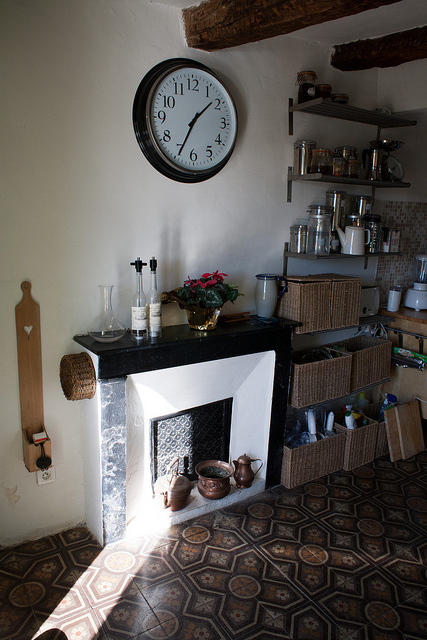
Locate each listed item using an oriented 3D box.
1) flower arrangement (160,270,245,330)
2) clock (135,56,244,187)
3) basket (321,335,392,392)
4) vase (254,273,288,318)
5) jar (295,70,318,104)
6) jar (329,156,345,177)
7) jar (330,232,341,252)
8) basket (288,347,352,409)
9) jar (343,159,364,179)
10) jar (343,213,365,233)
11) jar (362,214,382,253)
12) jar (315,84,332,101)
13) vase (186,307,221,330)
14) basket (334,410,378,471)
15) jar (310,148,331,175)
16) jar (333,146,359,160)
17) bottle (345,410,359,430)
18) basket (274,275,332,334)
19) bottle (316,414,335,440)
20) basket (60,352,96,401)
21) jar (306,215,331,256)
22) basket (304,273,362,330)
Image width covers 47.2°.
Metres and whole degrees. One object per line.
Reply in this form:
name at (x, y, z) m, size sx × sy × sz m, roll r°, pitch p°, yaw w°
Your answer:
flower arrangement at (-0.045, -0.068, 1.986) m, size 0.322 × 0.231 × 0.170 m, roll -4°, pitch 12°, yaw -29°
clock at (-0.073, -0.797, 1.975) m, size 0.489 × 0.465 × 0.049 m, roll -19°, pitch 17°, yaw -35°
basket at (0.813, 0.245, 2.763) m, size 0.352 × 0.214 × 0.206 m, roll -12°, pitch 15°, yaw -36°
vase at (0.271, -0.113, 2.302) m, size 0.147 × 0.203 × 0.170 m, roll 3°, pitch 11°, yaw 8°
jar at (0.426, -1.082, 2.287) m, size 0.104 × 0.142 × 0.113 m, roll 2°, pitch 11°, yaw 0°
jar at (0.612, -0.763, 2.431) m, size 0.049 × 0.103 × 0.256 m, roll 6°, pitch 12°, yaw 22°
jar at (0.637, -0.404, 2.563) m, size 0.069 × 0.095 × 0.090 m, roll 3°, pitch -2°, yaw -2°
basket at (0.530, 0.297, 2.432) m, size 0.397 × 0.219 × 0.089 m, roll -6°, pitch 13°, yaw -35°
jar at (0.732, -0.778, 2.525) m, size 0.105 × 0.093 × 0.063 m, roll -2°, pitch 12°, yaw -21°
jar at (0.740, -0.524, 2.665) m, size 0.116 × 0.123 × 0.123 m, roll 0°, pitch 17°, yaw 0°
jar at (0.868, -0.477, 2.712) m, size 0.211 × 0.204 × 0.081 m, roll -7°, pitch 14°, yaw -38°
jar at (0.524, -1.080, 2.320) m, size 0.081 × 0.092 × 0.096 m, roll 4°, pitch 11°, yaw 10°
vase at (-0.045, -0.010, 1.989) m, size 0.099 × 0.069 × 0.101 m, roll 6°, pitch 17°, yaw 16°
basket at (0.746, 0.640, 2.693) m, size 0.174 × 0.245 × 0.238 m, roll -11°, pitch 22°, yaw -21°
jar at (0.510, -0.747, 2.317) m, size 0.098 × 0.118 × 0.071 m, roll 3°, pitch 11°, yaw 8°
jar at (0.679, -0.858, 2.509) m, size 0.123 × 0.076 × 0.106 m, roll 3°, pitch 11°, yaw 8°
bottle at (0.735, 0.541, 2.617) m, size 0.058 × 0.083 × 0.107 m, roll 4°, pitch 11°, yaw 11°
basket at (0.453, -0.065, 2.376) m, size 0.273 × 0.206 × 0.159 m, roll 4°, pitch -4°, yaw -41°
bottle at (0.590, 0.590, 2.591) m, size 0.050 × 0.190 × 0.052 m, roll 14°, pitch -26°, yaw 7°
basket at (-0.500, 0.199, 1.797) m, size 0.099 × 0.162 × 0.228 m, roll -4°, pitch 12°, yaw -26°
jar at (0.524, -0.418, 2.403) m, size 0.125 × 0.190 × 0.083 m, roll 1°, pitch 11°, yaw -4°
basket at (0.595, -0.128, 2.538) m, size 0.287 × 0.281 × 0.214 m, roll -4°, pitch 28°, yaw 4°
